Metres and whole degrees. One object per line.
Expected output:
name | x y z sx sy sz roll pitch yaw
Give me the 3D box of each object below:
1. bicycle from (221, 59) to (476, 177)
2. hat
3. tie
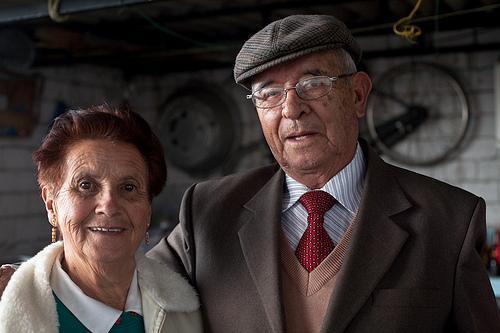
bicycle | 1.123 -0.378 4.574 1.452 0.893 0.665 9 24 24
hat | 0.182 -0.544 2.225 0.507 0.214 0.571 -4 9 22
tie | 0.262 0.262 2.175 0.193 0.472 0.136 -15 -54 23
